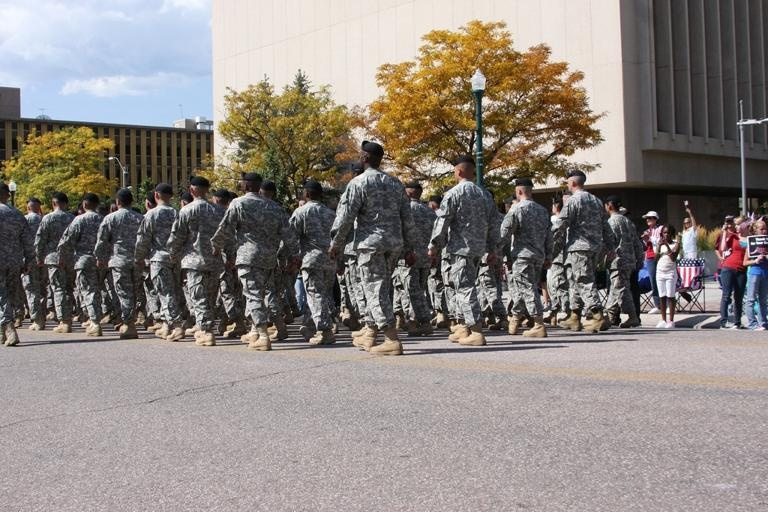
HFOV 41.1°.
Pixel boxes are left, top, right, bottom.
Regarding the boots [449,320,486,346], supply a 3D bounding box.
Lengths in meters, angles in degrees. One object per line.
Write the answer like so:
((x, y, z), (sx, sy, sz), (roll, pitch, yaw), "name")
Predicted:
((1.419, 1.257, 16.622), (0.270, 0.433, 0.702), (-6, 9, -42), "boots")

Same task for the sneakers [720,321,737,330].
((6.283, 1.265, 18.584), (0.139, 0.151, 0.385), (2, -11, -14), "sneakers")

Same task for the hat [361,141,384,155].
((-0.215, -1.710, 15.995), (0.239, 0.109, 0.308), (9, 2, -25), "hat")

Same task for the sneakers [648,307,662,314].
((5.572, 1.129, 21.147), (0.128, 0.132, 0.350), (4, -3, -43), "sneakers")

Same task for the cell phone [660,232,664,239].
((5.288, -0.399, 19.371), (0.075, 0.093, 0.025), (10, -7, -23), "cell phone")

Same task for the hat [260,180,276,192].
((-1.997, -1.220, 17.601), (0.183, 0.188, 0.209), (1, 18, -10), "hat")

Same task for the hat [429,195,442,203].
((1.072, -1.187, 20.961), (0.184, 0.109, 0.174), (1, -1, -19), "hat")
